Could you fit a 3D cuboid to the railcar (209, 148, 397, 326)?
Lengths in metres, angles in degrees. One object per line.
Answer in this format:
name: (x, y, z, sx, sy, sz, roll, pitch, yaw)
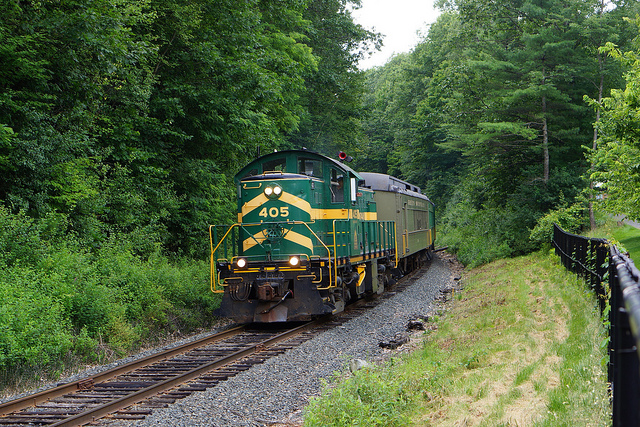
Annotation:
railcar: (0.032, 1.001, 20.464, 4.311, 5.607, 11.585, -4, -3, 18)
